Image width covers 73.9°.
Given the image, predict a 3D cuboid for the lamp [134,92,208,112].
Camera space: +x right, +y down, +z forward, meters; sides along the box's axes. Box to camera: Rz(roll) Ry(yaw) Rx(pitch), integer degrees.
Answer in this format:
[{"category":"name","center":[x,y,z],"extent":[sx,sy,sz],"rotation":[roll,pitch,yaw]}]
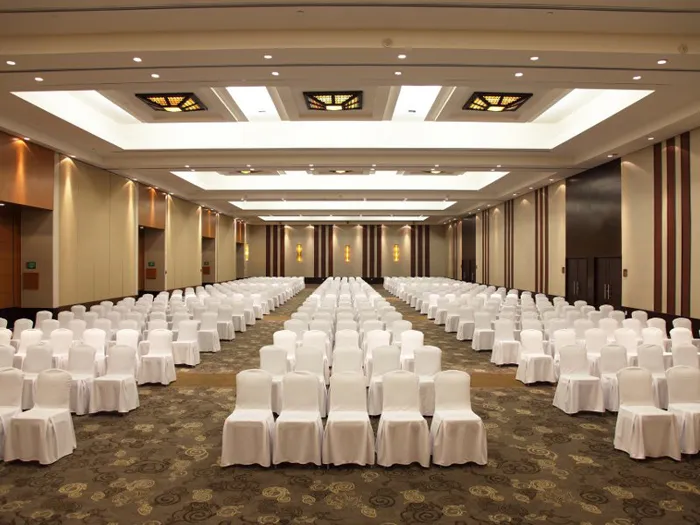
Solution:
[{"category":"lamp","center":[-4.166,-3.765,10.921],"extent":[1.494,0.202,0.992],"rotation":[1,7,9]}]

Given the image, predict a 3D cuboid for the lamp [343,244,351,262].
[{"category":"lamp","center":[-0.189,-0.635,34.292],"extent":[0.557,1.197,0.222],"rotation":[0,10,-1]}]

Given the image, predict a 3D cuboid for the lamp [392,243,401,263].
[{"category":"lamp","center":[3.458,-0.687,34.431],"extent":[0.574,1.309,0.197],"rotation":[1,10,4]}]

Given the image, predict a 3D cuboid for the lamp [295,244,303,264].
[{"category":"lamp","center":[-3.780,-0.685,34.359],"extent":[0.565,1.305,0.226],"rotation":[-1,10,-6]}]
